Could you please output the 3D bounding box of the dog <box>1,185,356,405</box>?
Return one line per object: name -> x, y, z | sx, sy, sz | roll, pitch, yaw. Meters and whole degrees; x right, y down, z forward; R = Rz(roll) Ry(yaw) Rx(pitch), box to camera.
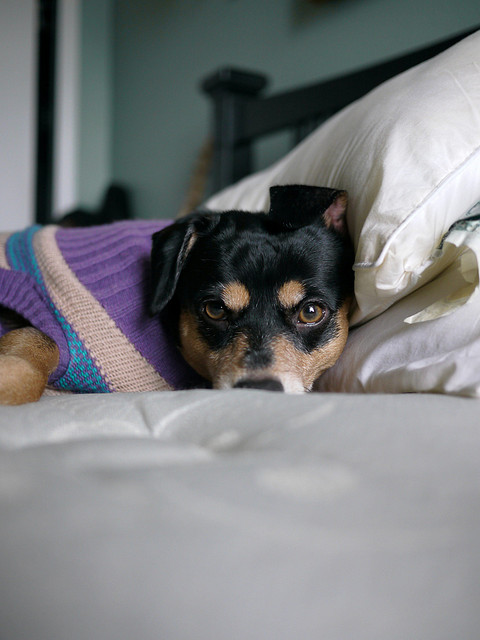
dog -> -0.061, -0.031, 1.361 | 0.497, 0.240, 0.565 | 4, -6, -25
